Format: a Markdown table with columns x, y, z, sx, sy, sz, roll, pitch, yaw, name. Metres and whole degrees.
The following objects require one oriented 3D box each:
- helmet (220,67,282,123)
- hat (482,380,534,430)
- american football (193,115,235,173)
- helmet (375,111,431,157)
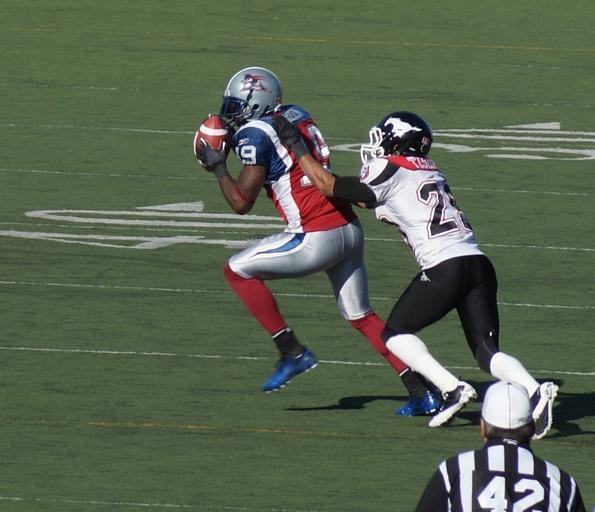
| x | y | z | sx | sy | sz | roll | pitch | yaw | name |
| --- | --- | --- | --- | --- | --- | --- | --- | --- | --- |
| -0.351 | -1.127 | 11.279 | 0.568 | 0.361 | 0.362 | -5 | 28 | -18 | helmet |
| 1.126 | 0.805 | 8.672 | 0.249 | 0.140 | 0.274 | 0 | 35 | 5 | hat |
| -0.594 | -0.771 | 11.155 | 0.337 | 0.370 | 0.291 | 7 | 37 | 6 | american football |
| 0.680 | -0.789 | 10.605 | 0.411 | 0.246 | 0.297 | 17 | 15 | 28 | helmet |
